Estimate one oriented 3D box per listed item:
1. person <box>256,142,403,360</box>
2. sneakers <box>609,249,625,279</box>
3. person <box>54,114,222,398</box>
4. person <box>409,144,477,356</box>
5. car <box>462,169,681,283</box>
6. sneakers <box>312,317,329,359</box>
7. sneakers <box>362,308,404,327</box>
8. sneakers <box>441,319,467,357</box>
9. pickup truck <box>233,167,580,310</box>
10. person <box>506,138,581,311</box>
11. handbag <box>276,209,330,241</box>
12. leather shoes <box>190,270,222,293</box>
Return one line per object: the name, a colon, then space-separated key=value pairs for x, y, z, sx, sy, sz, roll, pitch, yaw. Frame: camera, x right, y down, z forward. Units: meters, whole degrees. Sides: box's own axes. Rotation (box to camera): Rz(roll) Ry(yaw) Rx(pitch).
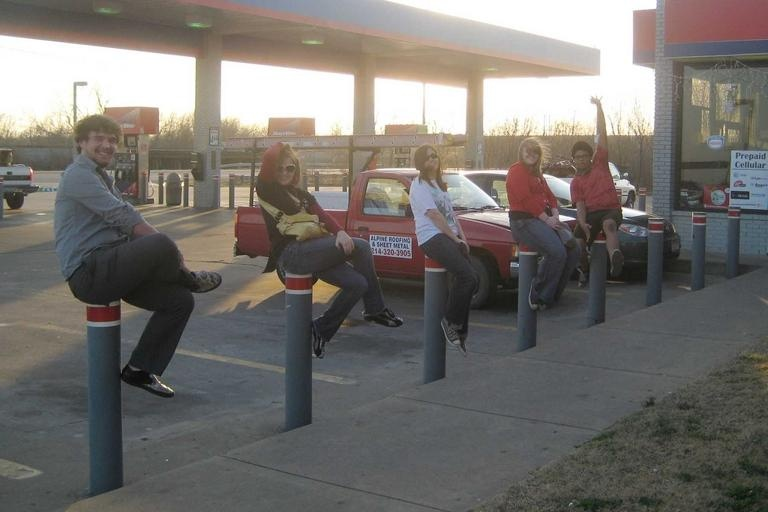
person: x=-0.597 y=-0.054 z=6.606 sx=1.231 sy=2.179 sz=0.716 roll=-4 pitch=7 yaw=-12
sneakers: x=3.643 y=0.118 z=10.324 sx=0.207 sy=0.591 sz=0.236 roll=1 pitch=2 yaw=0
person: x=-1.979 y=0.058 z=5.053 sx=1.043 sy=2.294 sz=0.769 roll=-3 pitch=7 yaw=-5
person: x=0.647 y=-0.109 z=7.262 sx=0.621 sy=2.222 sz=0.787 roll=-3 pitch=7 yaw=-4
car: x=3.856 y=-0.564 z=12.384 sx=4.197 sy=1.754 sz=2.006 roll=3 pitch=9 yaw=27
sneakers: x=-0.641 y=0.857 z=6.770 sx=0.169 sy=0.437 sz=0.142 roll=2 pitch=-1 yaw=1
sneakers: x=0.021 y=0.678 z=7.076 sx=0.497 sy=0.226 sz=0.187 roll=3 pitch=6 yaw=-2
sneakers: x=0.761 y=0.861 z=7.071 sx=0.212 sy=0.385 sz=0.174 roll=-2 pitch=7 yaw=2
pickup truck: x=-0.003 y=-0.420 z=11.304 sx=4.957 sy=2.022 sz=2.543 roll=2 pitch=6 yaw=31
person: x=1.935 y=-0.442 z=7.991 sx=0.773 sy=1.996 sz=1.152 roll=-2 pitch=7 yaw=3
handbag: x=-0.792 y=-0.293 z=6.474 sx=0.351 sy=0.157 sz=0.293 roll=1 pitch=10 yaw=-27
leather shoes: x=-1.503 y=0.214 z=5.382 sx=0.363 sy=0.143 sz=0.153 roll=-4 pitch=0 yaw=-14
